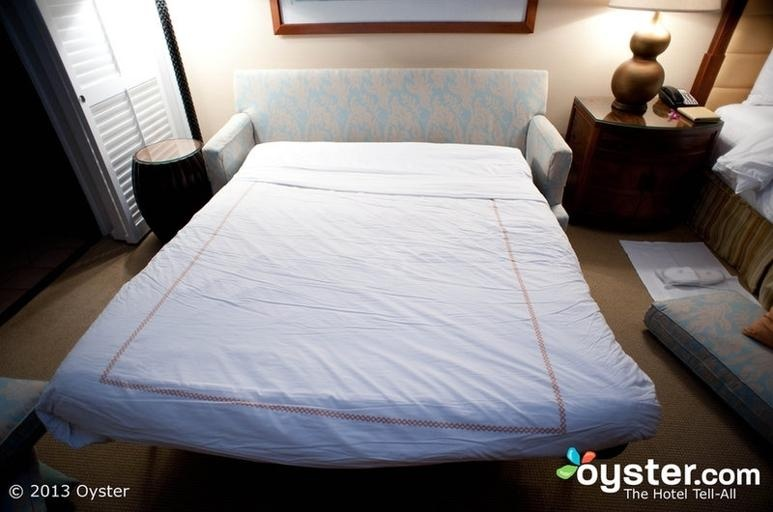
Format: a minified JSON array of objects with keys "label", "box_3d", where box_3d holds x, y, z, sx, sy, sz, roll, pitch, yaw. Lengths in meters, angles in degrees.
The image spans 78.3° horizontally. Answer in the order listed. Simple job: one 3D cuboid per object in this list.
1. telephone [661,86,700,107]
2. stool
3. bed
[{"label":"telephone","box_3d":[1.915,-1.061,3.083,0.174,0.088,0.227,-5,47,6]},{"label":"stool","box_3d":[-1.326,-0.426,3.219,0.531,0.666,0.559,3,37,7]},{"label":"bed","box_3d":[-0.137,-0.217,2.541,2.536,0.775,2.404,1,40,1]}]
